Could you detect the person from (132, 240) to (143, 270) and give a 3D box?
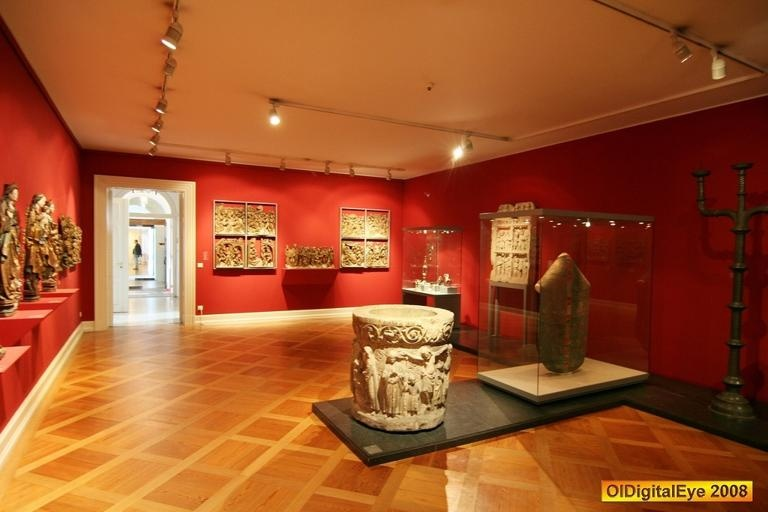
[{"bbox_3d":[-10.443,-0.018,21.051,0.375,1.418,1.289,-2,5,-26],"label":"person"}]

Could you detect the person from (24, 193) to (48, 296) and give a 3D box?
[{"bbox_3d":[-4.005,-0.118,5.697,0.197,1.157,0.471,-2,5,-27],"label":"person"}]

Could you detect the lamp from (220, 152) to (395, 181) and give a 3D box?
[{"bbox_3d":[-1.254,-2.026,11.372,4.029,0.322,1.199,-2,5,-26],"label":"lamp"}]
